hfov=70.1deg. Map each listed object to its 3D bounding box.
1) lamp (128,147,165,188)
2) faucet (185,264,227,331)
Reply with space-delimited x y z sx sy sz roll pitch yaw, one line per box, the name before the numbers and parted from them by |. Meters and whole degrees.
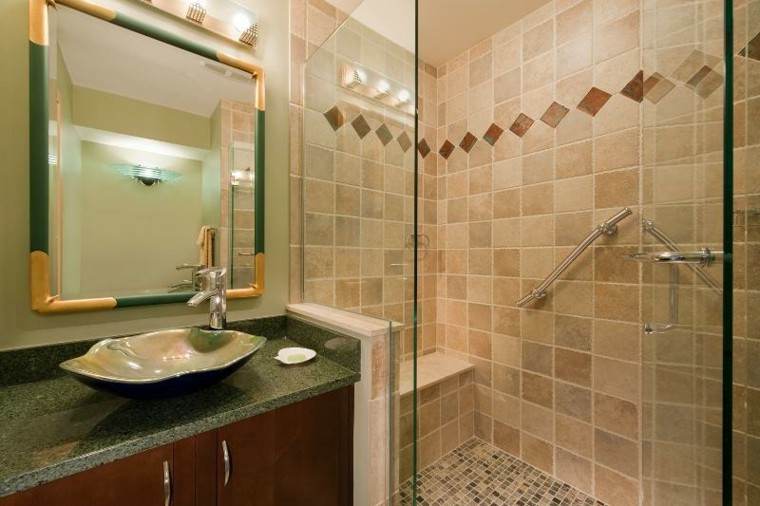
lamp | -1.100 -0.408 2.541 0.118 0.157 0.073 -12 6 -27
faucet | -0.799 0.207 2.530 0.151 0.280 0.373 1 2 -15
